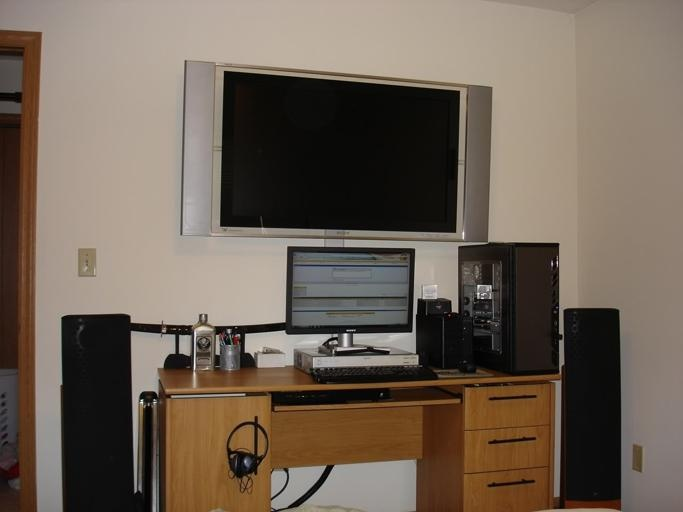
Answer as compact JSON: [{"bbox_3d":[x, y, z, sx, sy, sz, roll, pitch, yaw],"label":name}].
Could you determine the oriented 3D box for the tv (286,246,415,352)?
[{"bbox_3d":[0.036,0.225,3.707,0.534,0.424,0.059,1,2,-8],"label":"tv"}]

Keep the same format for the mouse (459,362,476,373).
[{"bbox_3d":[0.694,0.609,3.543,0.048,0.035,0.070,4,-1,1],"label":"mouse"}]

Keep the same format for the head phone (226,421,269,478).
[{"bbox_3d":[-0.488,0.987,3.225,0.189,0.275,0.097,2,-39,5],"label":"head phone"}]

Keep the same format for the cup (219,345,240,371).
[{"bbox_3d":[-0.619,0.558,3.566,0.115,0.147,0.124,0,-4,0],"label":"cup"}]
